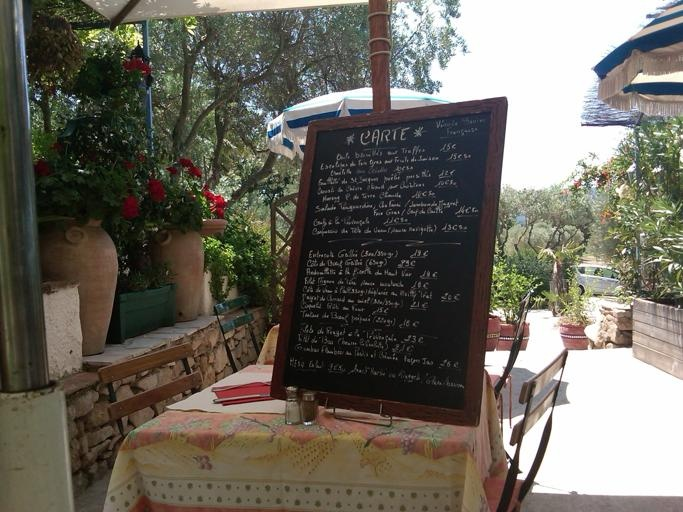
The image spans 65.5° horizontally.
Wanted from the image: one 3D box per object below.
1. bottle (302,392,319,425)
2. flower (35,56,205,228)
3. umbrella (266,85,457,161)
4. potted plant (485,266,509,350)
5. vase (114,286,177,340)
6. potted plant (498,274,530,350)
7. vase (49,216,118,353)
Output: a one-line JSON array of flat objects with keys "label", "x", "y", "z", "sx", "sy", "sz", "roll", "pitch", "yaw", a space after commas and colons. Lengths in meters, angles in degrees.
[{"label": "bottle", "x": -0.145, "y": 0.665, "z": 2.374, "sx": 0.085, "sy": 0.159, "sz": 0.087, "roll": 2, "pitch": 19, "yaw": -1}, {"label": "flower", "x": -1.967, "y": -1.003, "z": 4.630, "sx": 0.802, "sy": 1.558, "sz": 1.691, "roll": 1, "pitch": 5, "yaw": 14}, {"label": "umbrella", "x": -0.036, "y": -1.435, "z": 5.339, "sx": 1.384, "sy": 0.514, "sz": 1.403, "roll": -1, "pitch": 3, "yaw": 22}, {"label": "potted plant", "x": 2.013, "y": 0.724, "z": 7.310, "sx": 0.349, "sy": 1.186, "sz": 0.426, "roll": 5, "pitch": 5, "yaw": 45}, {"label": "vase", "x": -1.801, "y": 0.500, "z": 4.838, "sx": 0.173, "sy": 0.409, "sz": 0.792, "roll": 1, "pitch": 5, "yaw": 14}, {"label": "potted plant", "x": 2.694, "y": 0.902, "z": 8.314, "sx": 0.476, "sy": 1.269, "sz": 0.519, "roll": 10, "pitch": -9, "yaw": 20}, {"label": "vase", "x": -2.019, "y": 0.245, "z": 4.114, "sx": 0.523, "sy": 1.032, "sz": 0.239, "roll": -3, "pitch": 5, "yaw": -33}]
